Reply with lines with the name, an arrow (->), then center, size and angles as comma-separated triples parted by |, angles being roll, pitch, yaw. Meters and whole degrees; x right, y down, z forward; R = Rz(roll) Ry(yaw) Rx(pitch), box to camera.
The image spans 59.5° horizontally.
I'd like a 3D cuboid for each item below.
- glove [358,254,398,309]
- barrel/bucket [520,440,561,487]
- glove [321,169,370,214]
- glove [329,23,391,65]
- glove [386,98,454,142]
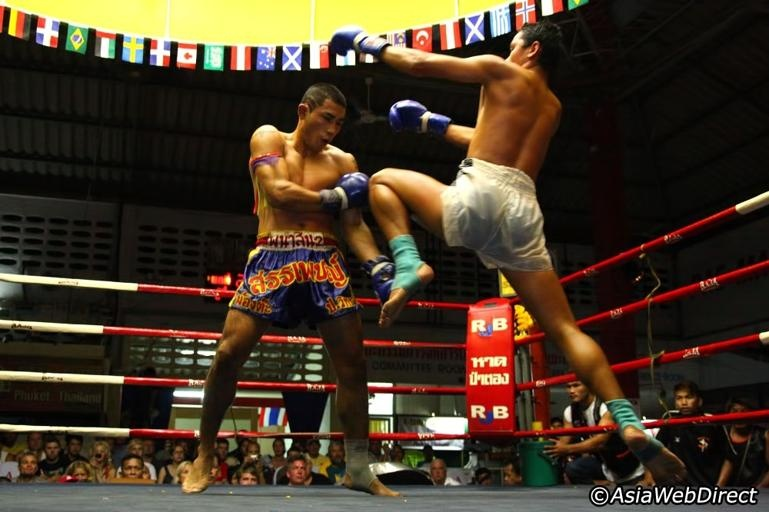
glove -> -0.033, 0.151, 4.079 | 0.209, 0.268, 0.111 | -12, -37, -36
barrel/bucket -> 1.222, 1.642, 5.324 | 0.326, 0.322, 0.317 | 1, -17, 0
glove -> -0.242, -0.414, 4.257 | 0.292, 0.137, 0.214 | -18, -18, 19
glove -> -0.148, -1.303, 4.195 | 0.244, 0.137, 0.342 | -15, 18, -43
glove -> 0.216, -0.884, 4.332 | 0.507, 0.216, 0.326 | 22, 24, 28
